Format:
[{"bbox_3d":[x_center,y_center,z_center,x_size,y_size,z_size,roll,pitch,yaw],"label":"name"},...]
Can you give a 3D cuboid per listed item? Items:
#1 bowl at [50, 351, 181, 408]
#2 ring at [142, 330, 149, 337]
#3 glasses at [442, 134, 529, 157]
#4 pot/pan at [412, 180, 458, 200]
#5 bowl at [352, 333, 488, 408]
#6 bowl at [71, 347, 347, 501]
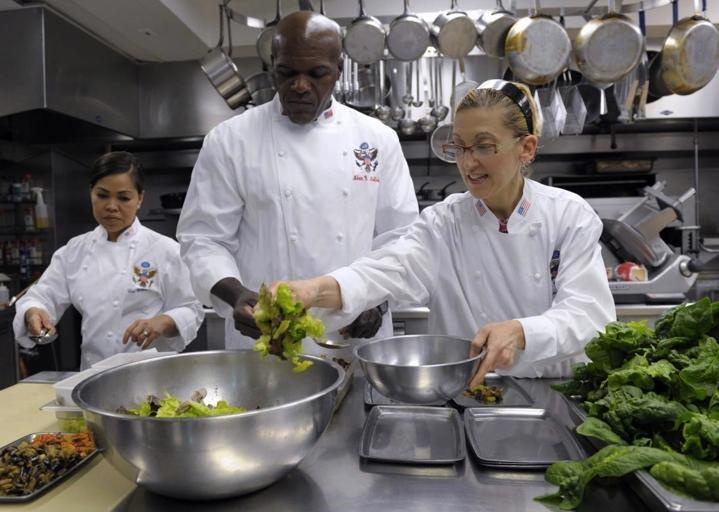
[{"bbox_3d":[-0.783,0.347,1.678,0.213,0.057,0.328,2,5,12],"label":"bowl"},{"bbox_3d":[-0.860,0.312,2.231,0.025,0.012,0.034,1,3,-9],"label":"ring"},{"bbox_3d":[0.411,-0.357,1.829,0.264,0.066,0.125,-1,3,16],"label":"glasses"},{"bbox_3d":[0.557,-0.494,4.123,0.215,0.143,0.350,-1,2,-17],"label":"pot/pan"},{"bbox_3d":[0.165,0.331,1.582,0.342,0.170,0.314,-2,3,0],"label":"bowl"},{"bbox_3d":[-0.360,0.415,1.384,0.631,0.289,0.377,-3,4,-16],"label":"bowl"}]
